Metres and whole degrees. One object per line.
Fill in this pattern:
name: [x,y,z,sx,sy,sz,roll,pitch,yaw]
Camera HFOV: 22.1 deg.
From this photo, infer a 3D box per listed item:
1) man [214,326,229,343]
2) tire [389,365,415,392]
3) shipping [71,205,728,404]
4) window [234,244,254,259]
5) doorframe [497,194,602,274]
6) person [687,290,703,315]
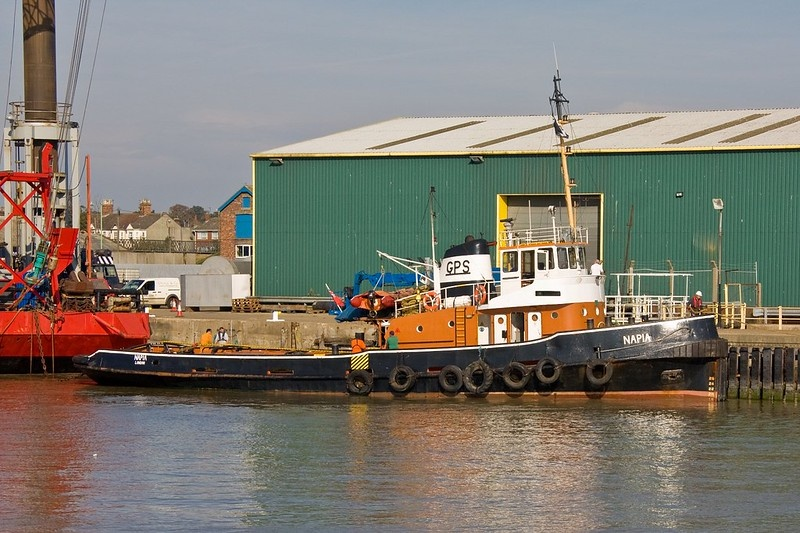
man: [-5.494,2.212,63.241,0.317,0.208,0.615,-3,-25,-7]
tire: [0.044,3.235,58.724,0.758,0.721,0.229,-15,-7,22]
shipping: [-0.756,1.300,62.552,25.511,7.513,5.904,-1,1,15]
window: [-6.948,-0.656,91.619,0.994,0.645,0.501,0,2,2]
doorframe: [5.182,-1.220,69.944,3.908,2.607,0.350,1,2,30]
person: [9.041,1.143,62.760,0.288,0.868,0.405,0,30,10]
